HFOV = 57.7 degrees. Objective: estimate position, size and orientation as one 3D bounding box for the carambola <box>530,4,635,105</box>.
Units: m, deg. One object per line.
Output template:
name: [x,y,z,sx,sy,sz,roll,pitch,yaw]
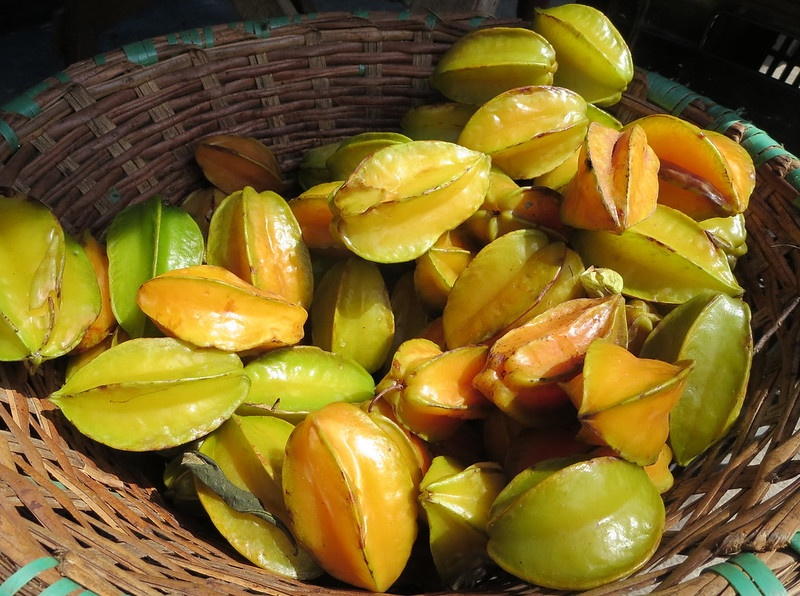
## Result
carambola: [0.482,-0.621,1.867,0.269,0.203,0.113,36,15,10]
